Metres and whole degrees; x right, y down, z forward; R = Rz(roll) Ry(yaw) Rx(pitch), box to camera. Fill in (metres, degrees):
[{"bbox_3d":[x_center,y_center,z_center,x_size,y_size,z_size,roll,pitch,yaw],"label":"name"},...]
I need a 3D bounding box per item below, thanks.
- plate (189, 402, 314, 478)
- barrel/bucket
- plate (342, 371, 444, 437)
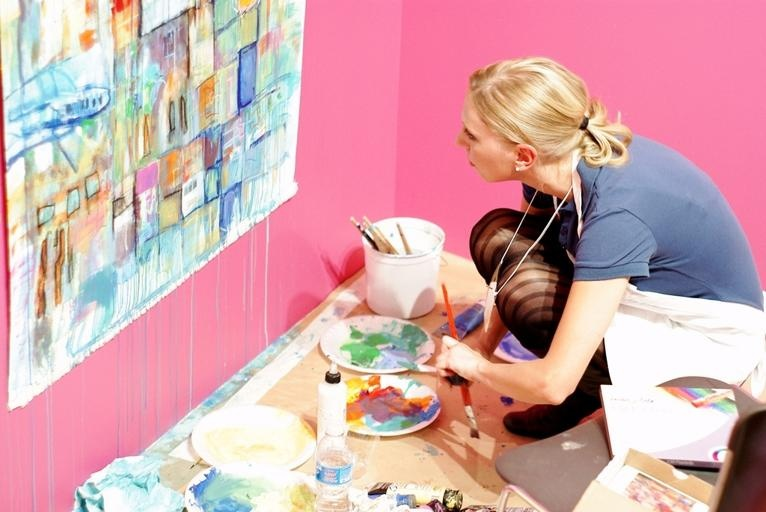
[{"bbox_3d":[-0.382,0.561,2.214,0.362,0.087,0.355,2,16,-15],"label":"plate"},{"bbox_3d":[0.089,0.046,2.925,0.353,0.330,0.365,0,35,0],"label":"barrel/bucket"},{"bbox_3d":[0.002,0.479,2.377,0.317,0.056,0.342,5,27,11],"label":"plate"}]
